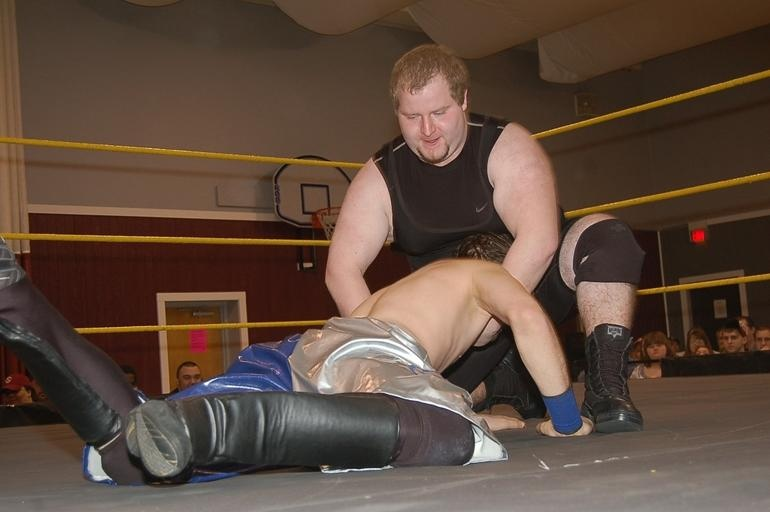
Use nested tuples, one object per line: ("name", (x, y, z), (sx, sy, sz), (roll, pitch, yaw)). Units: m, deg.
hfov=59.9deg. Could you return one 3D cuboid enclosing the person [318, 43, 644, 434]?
("person", (0.365, -0.097, 2.413), (1.054, 1.319, 1.135), (-11, -2, 31))
